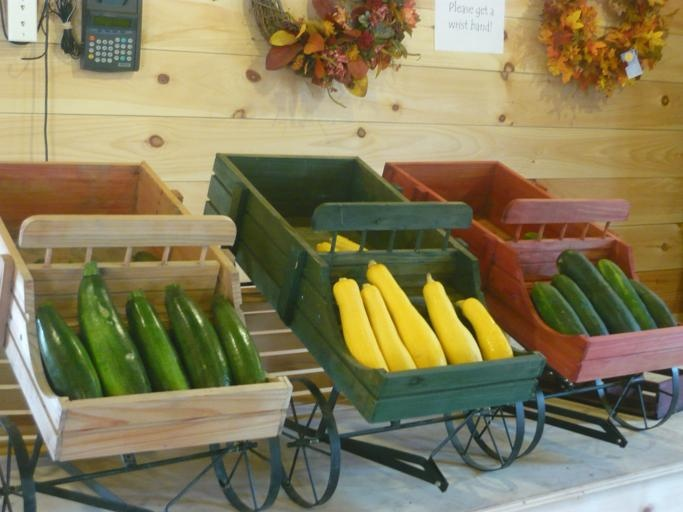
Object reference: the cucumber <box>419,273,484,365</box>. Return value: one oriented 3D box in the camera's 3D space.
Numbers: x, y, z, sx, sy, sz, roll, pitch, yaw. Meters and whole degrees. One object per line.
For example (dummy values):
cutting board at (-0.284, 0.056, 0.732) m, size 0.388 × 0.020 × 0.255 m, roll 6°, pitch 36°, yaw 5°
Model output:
cucumber at (0.223, 0.136, 1.312) m, size 0.059 × 0.063 × 0.216 m, roll -16°, pitch 52°, yaw -17°

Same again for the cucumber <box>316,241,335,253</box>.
cucumber at (-0.035, -0.025, 1.430) m, size 0.034 × 0.020 × 0.032 m, roll 3°, pitch 7°, yaw -6°

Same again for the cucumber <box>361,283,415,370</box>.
cucumber at (0.089, 0.151, 1.224) m, size 0.052 × 0.063 × 0.224 m, roll -20°, pitch 57°, yaw -8°

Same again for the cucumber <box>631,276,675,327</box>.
cucumber at (0.797, 0.121, 1.591) m, size 0.053 × 0.050 × 0.171 m, roll -26°, pitch 46°, yaw 1°

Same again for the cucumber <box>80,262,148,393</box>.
cucumber at (-0.417, 0.135, 1.069) m, size 0.084 × 0.081 × 0.266 m, roll -4°, pitch 55°, yaw -30°

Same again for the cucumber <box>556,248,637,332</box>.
cucumber at (0.649, 0.094, 1.568) m, size 0.085 × 0.084 × 0.281 m, roll -30°, pitch 62°, yaw -9°

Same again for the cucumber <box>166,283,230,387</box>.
cucumber at (-0.270, 0.158, 1.170) m, size 0.076 × 0.075 × 0.232 m, roll -16°, pitch 58°, yaw -17°

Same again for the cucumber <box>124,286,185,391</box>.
cucumber at (-0.349, 0.159, 1.148) m, size 0.070 × 0.062 × 0.229 m, roll 1°, pitch 49°, yaw -42°

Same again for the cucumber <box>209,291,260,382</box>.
cucumber at (-0.202, 0.156, 1.181) m, size 0.062 × 0.064 × 0.194 m, roll -13°, pitch 56°, yaw -16°

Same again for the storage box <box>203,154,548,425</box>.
storage box at (-0.017, 0.057, 1.534) m, size 0.597 × 0.345 × 0.974 m, roll -4°, pitch 32°, yaw -33°
